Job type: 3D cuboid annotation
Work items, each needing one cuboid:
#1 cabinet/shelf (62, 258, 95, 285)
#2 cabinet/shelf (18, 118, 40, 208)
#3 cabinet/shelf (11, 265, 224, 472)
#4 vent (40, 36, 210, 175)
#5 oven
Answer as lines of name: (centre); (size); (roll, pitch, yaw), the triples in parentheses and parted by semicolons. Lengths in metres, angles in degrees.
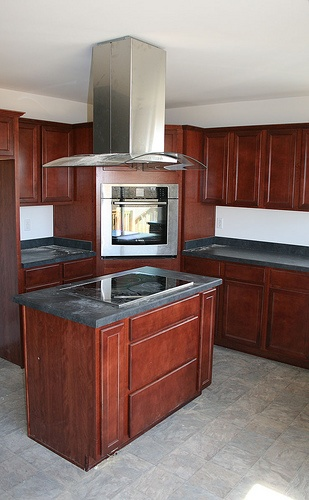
cabinet/shelf: (-0.717, 0.186, 3.677); (0.192, 0.229, 0.363); (9, 14, 38)
cabinet/shelf: (-1.122, -0.777, 3.501); (0.083, 0.733, 0.267); (3, 4, 33)
cabinet/shelf: (-0.193, 0.629, 2.353); (0.651, 0.868, 1.076); (4, 4, 38)
vent: (-0.177, -0.571, 2.403); (1.068, 0.822, 0.699); (2, 3, 42)
oven: (-0.151, -0.381, 3.947); (0.759, 0.766, 0.527); (0, 25, -3)
